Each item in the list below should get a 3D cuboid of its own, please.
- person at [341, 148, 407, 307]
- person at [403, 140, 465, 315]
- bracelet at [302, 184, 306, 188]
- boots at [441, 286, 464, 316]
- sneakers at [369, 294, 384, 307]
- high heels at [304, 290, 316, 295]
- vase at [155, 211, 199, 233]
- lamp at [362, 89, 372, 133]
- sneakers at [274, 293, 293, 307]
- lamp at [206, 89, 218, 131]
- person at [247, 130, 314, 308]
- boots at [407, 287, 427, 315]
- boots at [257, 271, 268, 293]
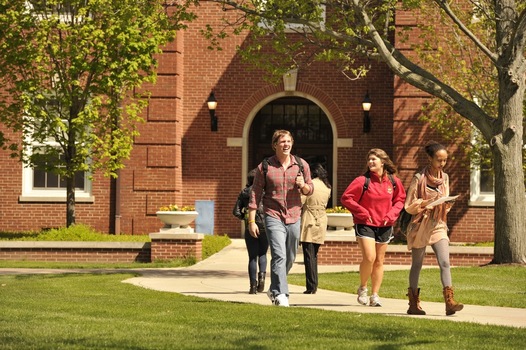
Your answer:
[{"bbox_3d":[2.463,1.157,20.886,1.270,3.452,0.688,-1,-5,8],"label":"person"},{"bbox_3d":[3.599,1.145,20.384,1.059,3.709,0.547,-1,-5,9],"label":"person"},{"bbox_3d":[0.873,0.248,20.537,0.092,0.097,0.024,8,3,14],"label":"bracelet"},{"bbox_3d":[4.057,2.672,20.279,0.218,0.545,0.656,-3,-17,-12],"label":"boots"},{"bbox_3d":[2.491,2.788,21.002,0.144,0.184,0.385,1,-9,-11],"label":"sneakers"},{"bbox_3d":[1.112,2.751,22.366,0.292,0.135,0.110,3,3,42],"label":"high heels"},{"bbox_3d":[-2.481,1.372,27.266,1.110,0.658,0.652,0,-6,-7],"label":"vase"},{"bbox_3d":[3.490,-2.111,31.804,0.331,1.431,0.501,-1,-6,6],"label":"lamp"},{"bbox_3d":[0.398,2.720,20.583,0.375,0.277,0.203,-1,-6,5],"label":"sneakers"},{"bbox_3d":[-1.710,-2.114,32.149,0.379,1.271,0.568,0,-6,0],"label":"lamp"},{"bbox_3d":[0.394,0.937,20.625,1.347,3.809,0.454,0,-5,0],"label":"person"},{"bbox_3d":[3.269,2.735,20.432,0.550,0.705,0.355,-2,-1,7],"label":"boots"},{"bbox_3d":[-0.020,2.520,22.355,0.157,0.233,0.520,3,-49,0],"label":"boots"}]
